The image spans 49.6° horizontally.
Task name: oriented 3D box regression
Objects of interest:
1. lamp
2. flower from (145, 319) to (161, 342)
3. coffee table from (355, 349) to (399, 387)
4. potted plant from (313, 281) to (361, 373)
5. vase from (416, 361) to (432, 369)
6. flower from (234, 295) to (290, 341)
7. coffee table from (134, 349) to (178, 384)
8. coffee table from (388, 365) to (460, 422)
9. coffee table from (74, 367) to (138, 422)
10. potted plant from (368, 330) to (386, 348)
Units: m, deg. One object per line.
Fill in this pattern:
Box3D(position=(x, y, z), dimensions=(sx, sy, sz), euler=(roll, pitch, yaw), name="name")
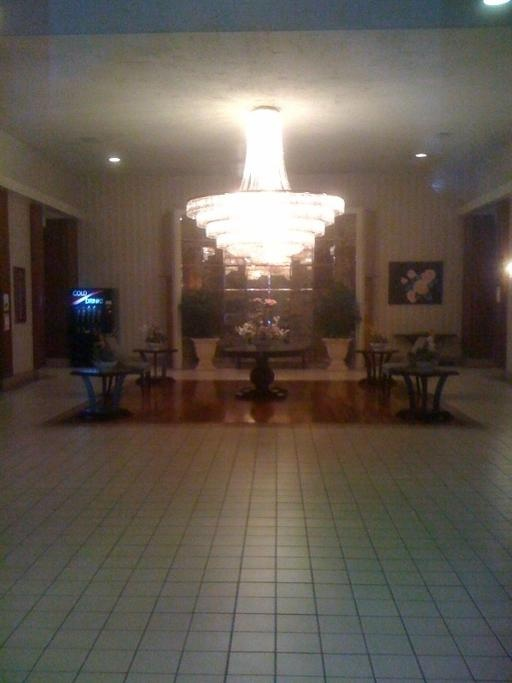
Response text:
Box3D(position=(0.094, -1.761, 6.016), dimensions=(1.771, 1.537, 1.781), euler=(-3, 12, -10), name="lamp")
Box3D(position=(-1.123, -0.129, 6.057), dimensions=(0.134, 0.178, 0.281), euler=(-10, 21, 3), name="flower")
Box3D(position=(1.106, 0.238, 5.130), dimensions=(0.412, 0.302, 0.396), euler=(-2, -2, 41), name="coffee table")
Box3D(position=(0.737, -0.148, 4.949), dimensions=(0.447, 0.783, 0.215), euler=(-2, 3, -26), name="potted plant")
Box3D(position=(1.414, 0.200, 4.653), dimensions=(0.129, 0.061, 0.052), euler=(0, 3, 9), name="vase")
Box3D(position=(0.081, -0.214, 5.471), dimensions=(0.502, 0.435, 0.687), euler=(-1, 3, -11), name="flower")
Box3D(position=(-1.145, 0.264, 6.561), dimensions=(0.452, 0.326, 0.447), euler=(0, -1, 0), name="coffee table")
Box3D(position=(1.553, 0.415, 5.148), dimensions=(0.543, 0.474, 1.249), euler=(0, 3, 18), name="coffee table")
Box3D(position=(-1.508, 0.504, 5.441), dimensions=(0.607, 0.428, 0.572), euler=(0, -6, -38), name="coffee table")
Box3D(position=(1.243, -0.038, 5.675), dimensions=(0.150, 0.116, 0.169), euler=(0, -3, 14), name="potted plant")
